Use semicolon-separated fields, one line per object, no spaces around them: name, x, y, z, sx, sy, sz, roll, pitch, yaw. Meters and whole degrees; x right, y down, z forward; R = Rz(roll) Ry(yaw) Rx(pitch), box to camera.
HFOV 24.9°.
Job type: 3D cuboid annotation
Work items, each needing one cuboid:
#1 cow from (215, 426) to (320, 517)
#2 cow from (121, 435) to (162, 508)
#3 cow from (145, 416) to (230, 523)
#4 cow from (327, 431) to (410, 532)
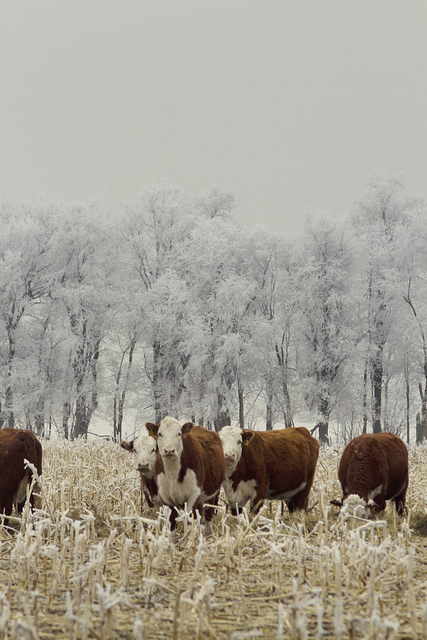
cow;0.540;1.731;11.018;0.670;1.128;2.119;0;-10;35
cow;-0.683;1.502;9.833;0.298;0.900;0.472;-6;13;-1
cow;-0.281;1.610;9.848;0.709;1.107;1.986;-2;-10;11
cow;1.755;1.807;10.742;0.648;1.034;1.920;1;1;23
